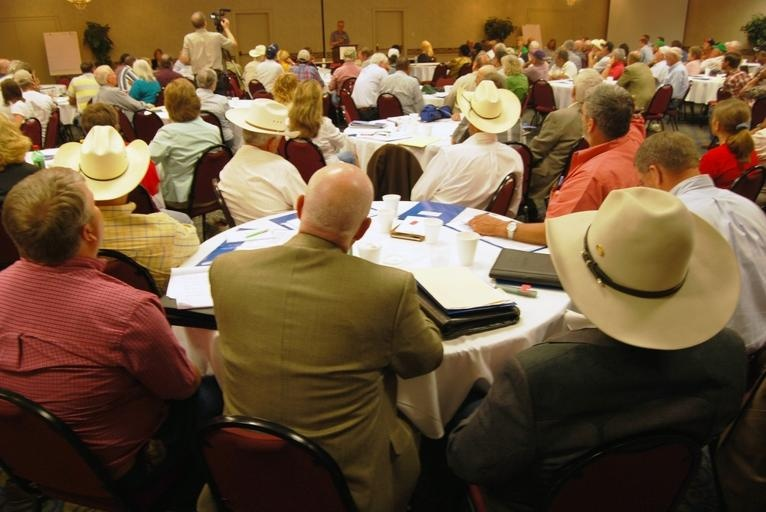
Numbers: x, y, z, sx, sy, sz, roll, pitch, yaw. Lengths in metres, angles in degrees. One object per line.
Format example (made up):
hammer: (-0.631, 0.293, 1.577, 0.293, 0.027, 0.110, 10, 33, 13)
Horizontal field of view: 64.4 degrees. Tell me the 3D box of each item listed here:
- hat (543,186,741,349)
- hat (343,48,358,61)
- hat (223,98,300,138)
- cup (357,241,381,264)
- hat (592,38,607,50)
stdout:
hat: (0.894, 0.066, 2.197, 0.513, 0.263, 0.620, -15, 47, -6)
hat: (-0.561, -3.234, 9.960, 0.178, 0.202, 0.256, -2, 29, -3)
hat: (-0.871, -0.947, 4.002, 0.393, 0.117, 0.346, 31, 31, 28)
cup: (-0.080, -0.017, 2.905, 0.083, 0.100, 0.100, -8, 15, -31)
hat: (4.604, -4.458, 12.987, 0.279, 0.168, 0.602, 8, 20, 16)
